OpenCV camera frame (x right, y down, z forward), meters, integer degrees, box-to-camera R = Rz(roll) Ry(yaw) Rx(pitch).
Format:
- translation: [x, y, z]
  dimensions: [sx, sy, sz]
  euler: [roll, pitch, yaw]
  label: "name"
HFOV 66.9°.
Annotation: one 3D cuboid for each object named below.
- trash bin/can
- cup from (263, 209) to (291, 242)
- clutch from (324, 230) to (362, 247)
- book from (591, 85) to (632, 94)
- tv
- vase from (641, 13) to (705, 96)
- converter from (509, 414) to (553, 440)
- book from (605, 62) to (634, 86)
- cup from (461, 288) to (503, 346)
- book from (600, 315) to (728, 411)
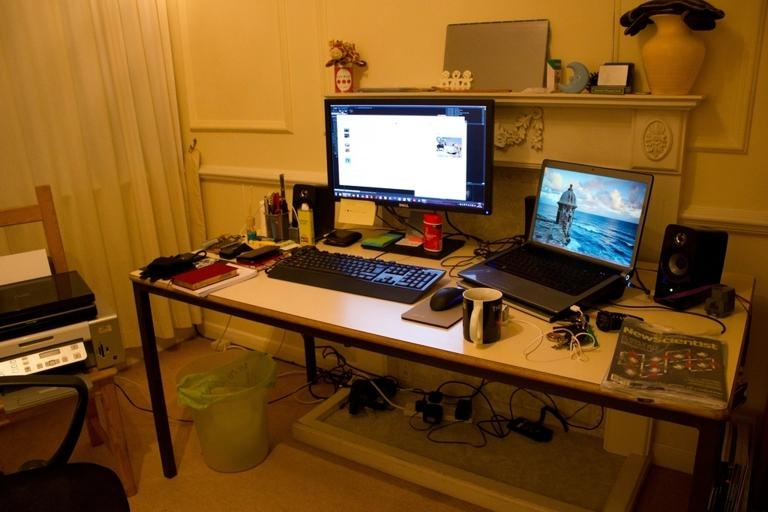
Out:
- translation: [-0.720, 0.687, 2.884]
  dimensions: [0.596, 0.508, 0.521]
  euler: [-2, 5, -6]
  label: "trash bin/can"
- translation: [-0.518, -0.157, 2.846]
  dimensions: [0.135, 0.139, 0.133]
  euler: [1, 22, 0]
  label: "cup"
- translation: [-0.210, -0.088, 2.783]
  dimensions: [0.119, 0.027, 0.099]
  euler: [10, 30, 24]
  label: "clutch"
- translation: [0.934, -0.685, 2.388]
  dimensions: [0.156, 0.032, 0.044]
  euler: [4, 22, 12]
  label: "book"
- translation: [0.123, -0.367, 2.630]
  dimensions: [0.711, 0.534, 0.208]
  euler: [8, 20, 24]
  label: "tv"
- translation: [1.177, -0.827, 2.376]
  dimensions: [0.252, 0.301, 0.260]
  euler: [8, 17, 34]
  label: "vase"
- translation: [0.715, 0.825, 2.846]
  dimensions: [0.171, 0.038, 0.095]
  euler: [15, 28, 38]
  label: "converter"
- translation: [0.972, -0.759, 2.414]
  dimensions: [0.127, 0.088, 0.102]
  euler: [8, 23, 20]
  label: "book"
- translation: [0.365, 0.206, 2.023]
  dimensions: [0.124, 0.144, 0.200]
  euler: [5, 21, 19]
  label: "cup"
- translation: [0.911, 0.339, 1.856]
  dimensions: [0.336, 0.084, 0.368]
  euler: [10, 23, 25]
  label: "book"
